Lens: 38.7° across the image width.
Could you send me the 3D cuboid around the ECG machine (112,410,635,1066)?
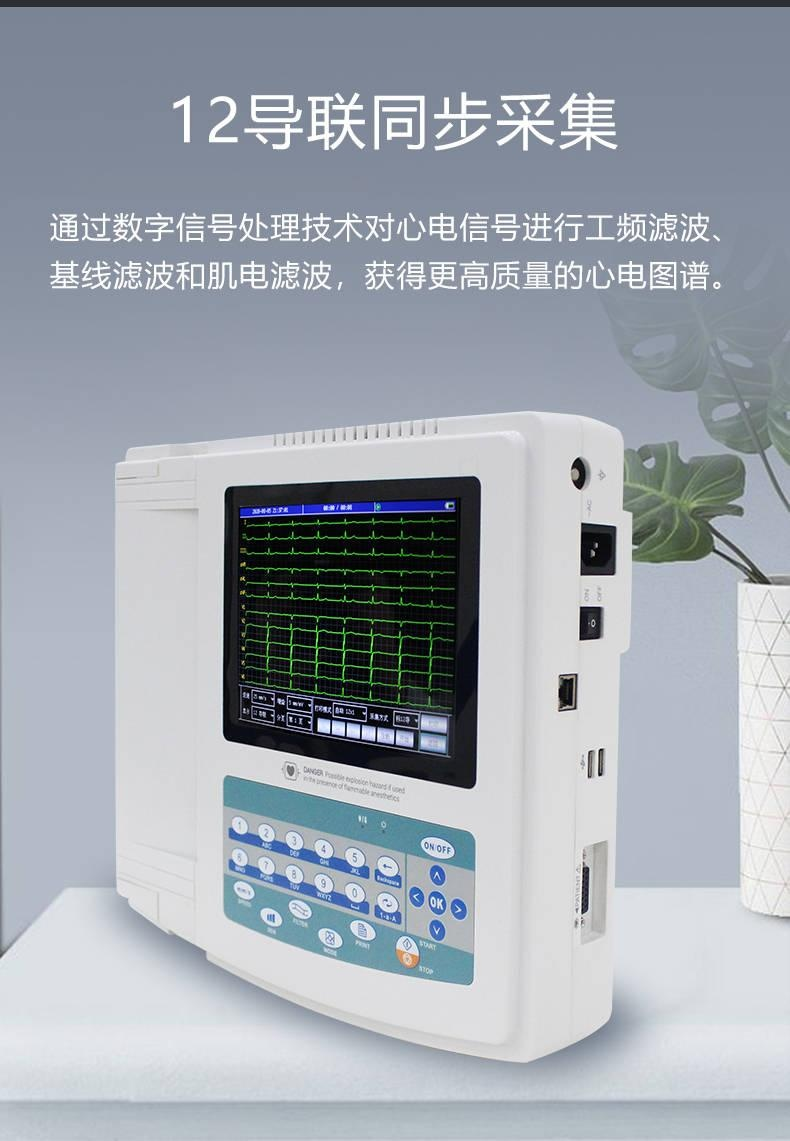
[{"bbox_3d":[-0.021,0.177,1.118,0.666,0.668,0.235,-3,-4,45],"label":"ECG machine"}]
